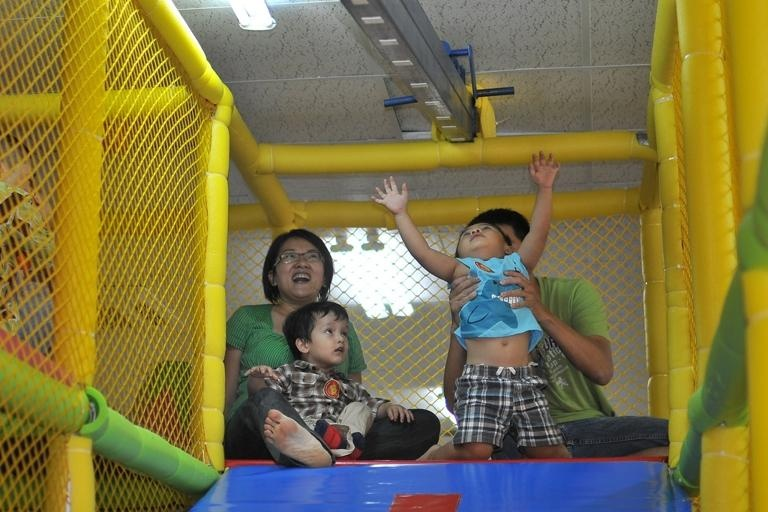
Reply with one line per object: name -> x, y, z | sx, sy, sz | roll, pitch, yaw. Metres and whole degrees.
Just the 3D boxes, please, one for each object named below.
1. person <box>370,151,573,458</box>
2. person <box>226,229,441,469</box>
person -> 0.301, 0.250, 2.338 | 0.673, 1.225, 0.270 | -4, -28, 8
person -> -0.234, 0.294, 2.600 | 0.794, 0.945, 0.830 | -5, -15, 13
